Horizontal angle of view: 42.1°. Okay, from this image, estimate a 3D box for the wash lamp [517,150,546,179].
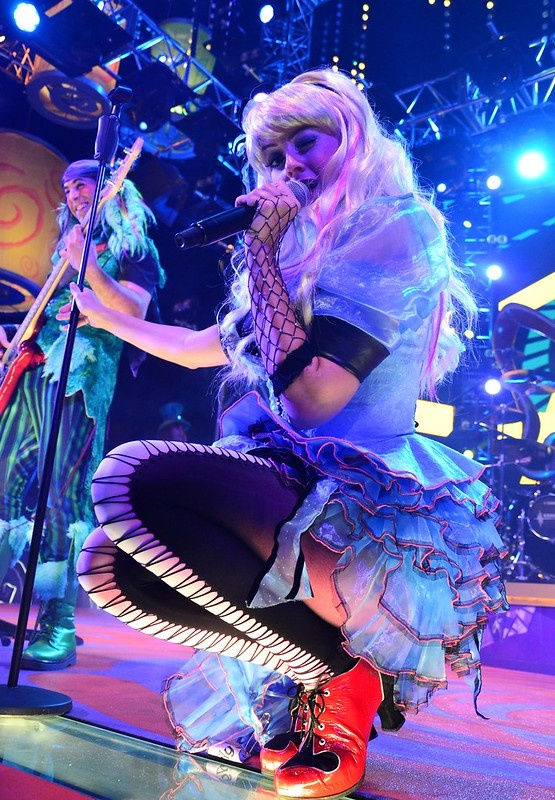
[{"bbox_3d":[2.034,-1.878,5.796,0.172,0.196,0.219,14,-3,-35],"label":"wash lamp"}]

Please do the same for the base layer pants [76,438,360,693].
[{"bbox_3d":[-0.095,0.219,1.120,0.470,0.199,0.310,22,-17,-3],"label":"base layer pants"}]

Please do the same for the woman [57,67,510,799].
[{"bbox_3d":[0.099,0.177,1.966,1.219,1.718,1.031,7,-9,-16],"label":"woman"}]

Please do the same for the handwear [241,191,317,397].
[{"bbox_3d":[-0.020,-0.166,1.085,0.091,0.331,0.090,10,-36,-22],"label":"handwear"}]

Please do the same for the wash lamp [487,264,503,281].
[{"bbox_3d":[1.777,-1.033,5.890,0.144,0.141,0.133,0,5,7],"label":"wash lamp"}]
